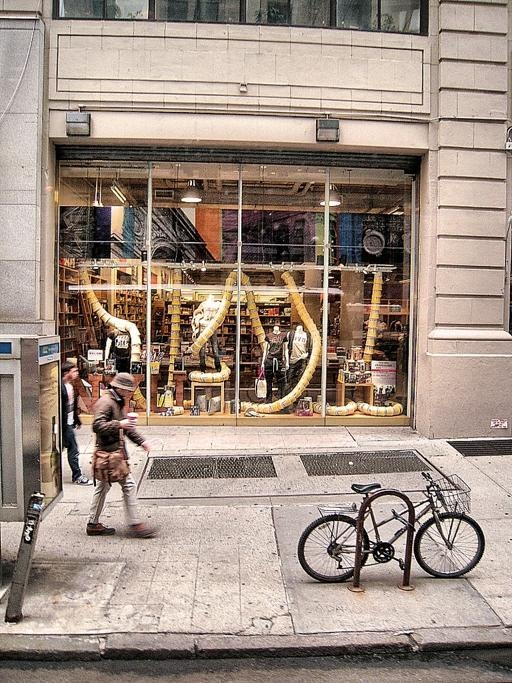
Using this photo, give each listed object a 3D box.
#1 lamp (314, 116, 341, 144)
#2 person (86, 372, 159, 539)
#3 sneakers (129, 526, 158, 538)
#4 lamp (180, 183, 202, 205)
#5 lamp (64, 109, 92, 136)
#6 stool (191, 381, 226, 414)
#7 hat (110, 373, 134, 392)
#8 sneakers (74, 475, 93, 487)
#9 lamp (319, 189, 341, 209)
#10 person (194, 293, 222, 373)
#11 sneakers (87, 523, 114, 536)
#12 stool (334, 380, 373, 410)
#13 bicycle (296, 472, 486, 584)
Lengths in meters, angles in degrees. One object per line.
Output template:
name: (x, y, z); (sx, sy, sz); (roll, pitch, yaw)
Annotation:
lamp: (1.122, -3.385, 11.838); (0.504, 0.547, 0.322); (1, 16, -6)
person: (-1.440, 1.182, 7.491); (0.561, 1.692, 0.680); (-5, 9, -42)
sneakers: (-1.189, 1.960, 7.549); (0.269, 0.144, 0.116); (0, 8, -4)
lamp: (-1.109, -2.478, 12.410); (0.296, 0.373, 0.320); (0, -1, -7)
lamp: (-2.820, -3.387, 11.625); (0.519, 0.561, 0.310); (0, 7, -4)
stool: (-0.853, 1.115, 12.903); (0.629, 0.710, 0.476); (0, 3, 1)
hat: (-1.391, 0.428, 7.479); (0.190, 0.140, 0.187); (20, 7, 20)
sneakers: (-2.233, 1.780, 9.252); (0.263, 0.140, 0.114); (1, 4, 4)
lamp: (1.332, -2.408, 12.656); (0.285, 0.355, 0.314); (0, -2, 6)
person: (-0.872, 0.019, 12.619); (0.484, 1.539, 0.356); (-6, -24, 2)
sneakers: (-1.649, 1.961, 7.595); (0.258, 0.136, 0.125); (1, -3, -13)
stool: (1.720, 0.913, 12.977); (0.538, 0.610, 0.405); (1, -4, -10)
bicycle: (1.227, 1.690, 6.864); (1.893, 1.025, 1.111); (-2, 8, -24)
